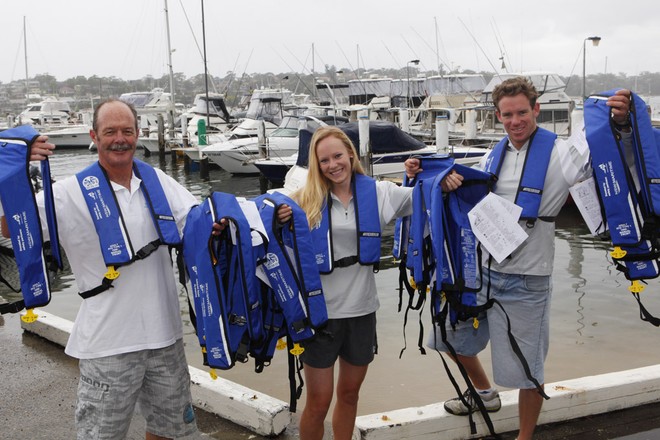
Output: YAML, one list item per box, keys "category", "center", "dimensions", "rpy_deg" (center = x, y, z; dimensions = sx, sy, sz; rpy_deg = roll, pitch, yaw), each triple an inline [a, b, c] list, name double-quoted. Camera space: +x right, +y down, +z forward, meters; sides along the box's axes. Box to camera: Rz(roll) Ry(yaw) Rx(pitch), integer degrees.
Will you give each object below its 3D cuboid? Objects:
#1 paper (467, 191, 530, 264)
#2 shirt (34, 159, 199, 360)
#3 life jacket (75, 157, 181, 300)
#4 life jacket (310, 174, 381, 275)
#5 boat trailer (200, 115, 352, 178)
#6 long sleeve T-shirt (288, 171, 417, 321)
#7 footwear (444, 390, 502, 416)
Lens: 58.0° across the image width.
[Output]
- category: "paper"
  center: [1.403, 0.085, 5.022]
  dimensions: [0.479, 0.607, 0.200]
  rpy_deg: [0, 12, 16]
- category: "shirt"
  center: [-1.584, 0.298, 4.720]
  dimensions: [1.497, 1.436, 0.728]
  rpy_deg: [-9, 9, -43]
- category: "life jacket"
  center: [-1.590, 0.056, 4.594]
  dimensions: [0.952, 0.989, 0.274]
  rpy_deg: [-15, -3, -35]
- category: "life jacket"
  center: [0.167, 0.024, 4.787]
  dimensions: [0.557, 0.734, 0.246]
  rpy_deg: [-3, -6, -4]
- category: "boat trailer"
  center: [-2.806, -2.930, 24.079]
  dimensions: [7.591, 2.175, 2.424]
  rpy_deg: [-12, 20, -29]
- category: "long sleeve T-shirt"
  center: [0.206, 0.234, 4.869]
  dimensions: [1.044, 1.079, 0.285]
  rpy_deg: [-9, -4, -14]
- category: "footwear"
  center: [1.273, 1.666, 5.450]
  dimensions: [0.587, 0.257, 0.228]
  rpy_deg: [1, 7, -3]
